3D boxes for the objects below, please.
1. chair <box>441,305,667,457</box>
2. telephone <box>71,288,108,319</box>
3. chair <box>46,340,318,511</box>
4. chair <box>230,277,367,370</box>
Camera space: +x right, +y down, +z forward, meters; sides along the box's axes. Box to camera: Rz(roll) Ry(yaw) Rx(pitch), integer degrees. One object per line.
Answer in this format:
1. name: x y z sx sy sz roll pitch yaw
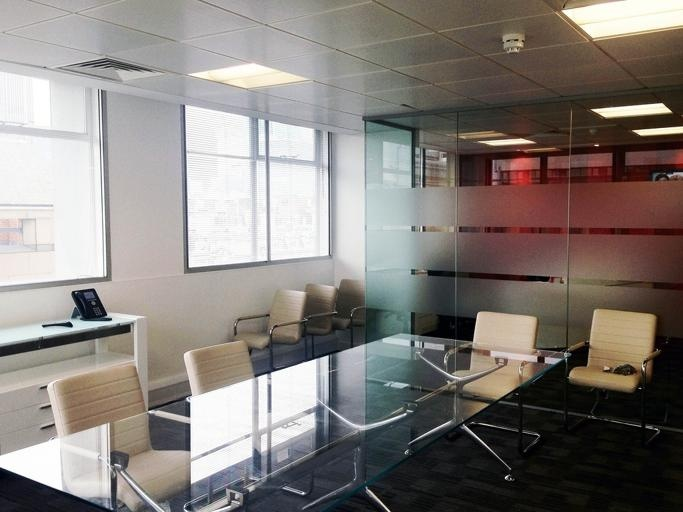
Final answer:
1. chair: 2.019 0.953 5.311 1.428 1.875 1.296 1 2 40
2. telephone: -2.445 0.463 5.060 0.196 0.268 0.239 -18 -1 39
3. chair: -1.228 0.880 3.269 0.574 0.497 1.181 0 5 40
4. chair: -0.599 0.845 6.978 0.958 1.003 1.683 0 0 39
